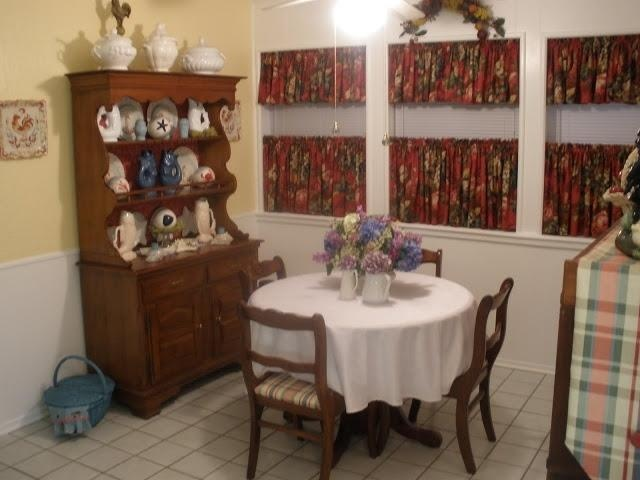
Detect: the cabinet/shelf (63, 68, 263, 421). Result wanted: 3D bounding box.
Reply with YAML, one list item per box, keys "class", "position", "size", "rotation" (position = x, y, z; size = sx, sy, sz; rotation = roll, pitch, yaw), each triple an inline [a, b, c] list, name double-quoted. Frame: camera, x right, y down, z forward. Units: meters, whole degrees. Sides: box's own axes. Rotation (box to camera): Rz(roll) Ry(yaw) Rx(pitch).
- class: "cabinet/shelf"
  position: [-1.229, -0.058, 4.074]
  size: [0.733, 2.526, 1.287]
  rotation: [7, 14, 38]

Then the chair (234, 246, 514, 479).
- class: "chair"
  position: [0.319, 0.560, 3.161]
  size: [1.261, 0.979, 1.343]
  rotation: [3, 9, 28]

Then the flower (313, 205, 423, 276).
- class: "flower"
  position: [0.338, -0.069, 3.094]
  size: [0.456, 0.435, 0.439]
  rotation: [-1, 6, -28]
